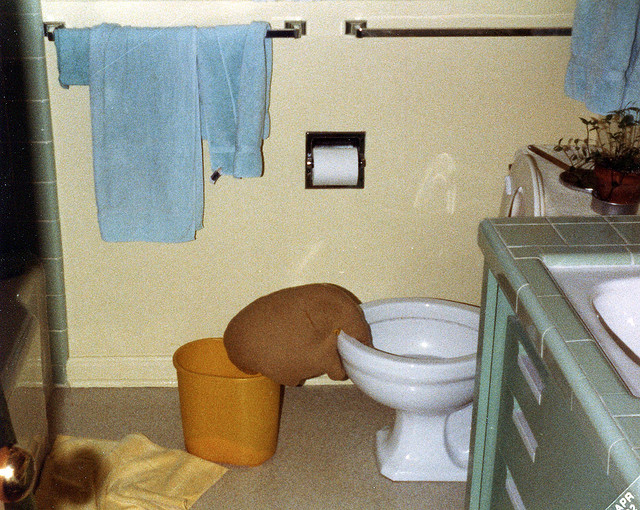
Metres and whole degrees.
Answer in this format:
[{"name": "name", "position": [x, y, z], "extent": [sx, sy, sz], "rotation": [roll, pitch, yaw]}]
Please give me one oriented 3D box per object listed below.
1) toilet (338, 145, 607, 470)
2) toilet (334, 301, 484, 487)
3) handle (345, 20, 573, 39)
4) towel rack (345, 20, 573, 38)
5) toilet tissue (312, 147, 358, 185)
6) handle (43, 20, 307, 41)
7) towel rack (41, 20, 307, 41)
[{"name": "toilet", "position": [0.318, 0.163, 2.011], "extent": [0.634, 0.985, 0.792], "rotation": [2, 20, 3]}, {"name": "toilet", "position": [0.299, 0.437, 1.935], "extent": [0.426, 0.369, 0.439], "rotation": [10, 7, 41]}, {"name": "handle", "position": [0.413, -0.661, 1.985], "extent": [0.680, 0.055, 0.033], "rotation": [1, 20, -4]}, {"name": "towel rack", "position": [0.385, -0.671, 1.980], "extent": [0.750, 0.068, 0.089], "rotation": [3, 22, 4]}, {"name": "toilet tissue", "position": [0.046, -0.268, 1.952], "extent": [0.135, 0.108, 0.113], "rotation": [2, 23, 2]}, {"name": "handle", "position": [-0.424, -0.648, 1.925], "extent": [0.774, 0.084, 0.099], "rotation": [1, 20, -4]}, {"name": "towel rack", "position": [-0.448, -0.633, 1.878], "extent": [0.539, 0.092, 0.046], "rotation": [2, -2, 5]}]
